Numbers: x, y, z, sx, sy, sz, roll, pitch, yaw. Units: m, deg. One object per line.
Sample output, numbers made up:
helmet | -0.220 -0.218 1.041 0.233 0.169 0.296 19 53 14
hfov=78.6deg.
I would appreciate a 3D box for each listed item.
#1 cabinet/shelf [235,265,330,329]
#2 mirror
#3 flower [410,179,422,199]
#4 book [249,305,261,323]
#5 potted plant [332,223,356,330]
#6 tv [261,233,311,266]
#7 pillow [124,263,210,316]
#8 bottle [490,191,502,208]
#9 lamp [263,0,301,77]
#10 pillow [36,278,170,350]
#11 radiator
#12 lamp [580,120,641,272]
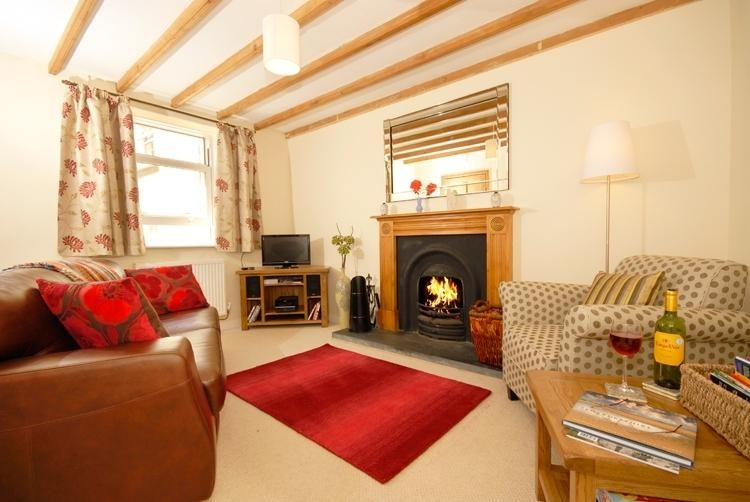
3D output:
cabinet/shelf | -1.126 0.581 5.826 1.080 0.750 0.442 -1 4 -4
mirror | 0.814 -1.182 4.919 1.330 0.976 0.046 -1 1 37
flower | 0.466 -0.699 5.094 0.122 0.188 0.124 -22 48 -22
book | -1.489 0.783 5.701 0.042 0.183 0.180 14 4 25
potted plant | -0.359 0.289 5.687 0.298 1.257 0.725 -1 4 -4
tv | -1.138 -0.010 5.910 0.608 0.403 0.159 -2 4 -16
pillow | -1.965 0.344 4.399 0.163 0.523 0.560 -35 -10 33
bottle | 1.204 -0.515 4.550 0.132 0.213 0.136 -1 3 0
lamp | -0.730 -1.663 3.587 0.267 0.476 0.221 -2 4 -18
pillow | -1.790 0.429 3.038 0.543 0.529 0.163 -5 -24 -33
radiator | -1.910 0.367 4.522 0.659 0.664 0.175 -15 6 -39
lamp | 2.005 -0.447 3.921 0.405 1.262 0.480 2 5 30
